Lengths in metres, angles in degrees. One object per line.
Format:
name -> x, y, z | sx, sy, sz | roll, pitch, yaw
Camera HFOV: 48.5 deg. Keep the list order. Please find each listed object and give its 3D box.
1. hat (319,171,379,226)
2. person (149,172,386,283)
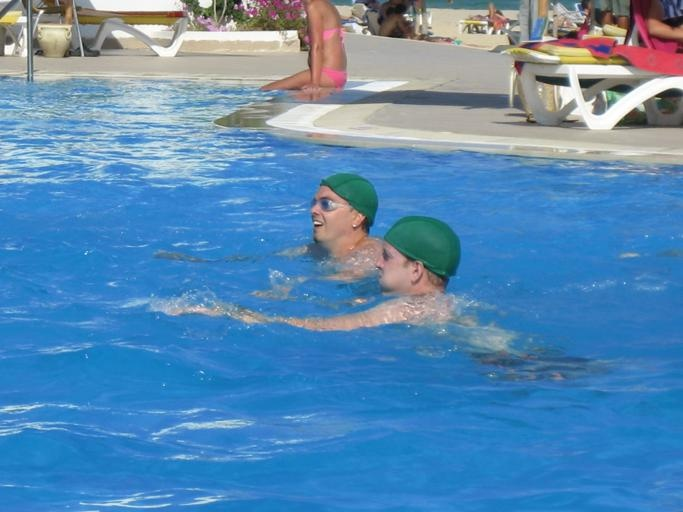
hat -> 0.147, -0.392, 5.011 | 0.547, 0.253, 0.330 | 11, 1, -10
person -> -0.498, -0.177, 5.101 | 1.919, 0.447, 1.095 | -8, 4, -16
